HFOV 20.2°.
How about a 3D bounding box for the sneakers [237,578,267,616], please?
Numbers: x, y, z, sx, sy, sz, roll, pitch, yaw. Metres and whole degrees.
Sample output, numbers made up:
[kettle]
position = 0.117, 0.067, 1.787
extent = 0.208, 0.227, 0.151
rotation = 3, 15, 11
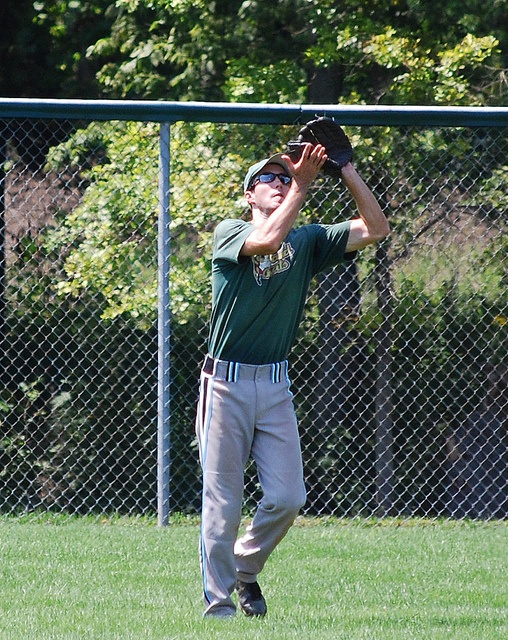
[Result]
[sneakers]
position = -0.025, 1.360, 7.100
extent = 0.087, 0.095, 0.234
rotation = 5, 21, -27

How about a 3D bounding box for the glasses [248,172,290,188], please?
[glasses]
position = 0.074, -0.695, 7.085
extent = 0.088, 0.031, 0.106
rotation = 0, -18, -42

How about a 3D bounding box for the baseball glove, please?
[baseball glove]
position = 0.295, -0.879, 7.071
extent = 0.324, 0.136, 0.416
rotation = -39, -6, 23

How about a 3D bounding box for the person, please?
[person]
position = 0.133, 0.229, 7.037
extent = 0.816, 2.426, 0.521
rotation = -1, 9, -10
